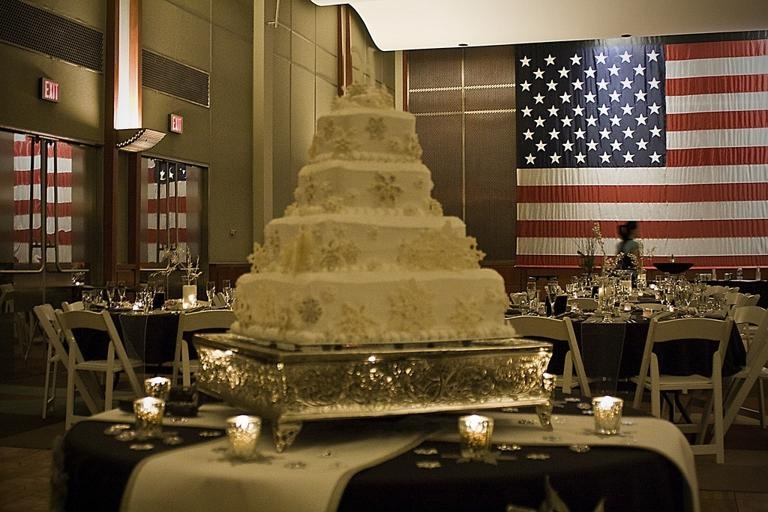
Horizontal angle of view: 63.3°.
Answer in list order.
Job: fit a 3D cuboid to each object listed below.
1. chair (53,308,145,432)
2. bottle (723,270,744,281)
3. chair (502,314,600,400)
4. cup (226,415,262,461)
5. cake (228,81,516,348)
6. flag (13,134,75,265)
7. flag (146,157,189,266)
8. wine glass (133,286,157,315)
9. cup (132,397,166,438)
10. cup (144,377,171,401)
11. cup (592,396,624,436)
[{"bbox_3d":[-2.459,1.000,5.569,0.698,1.018,0.784,-1,-2,-5],"label":"chair"},{"bbox_3d":[6.222,0.341,11.079,0.145,0.267,0.535,2,4,13],"label":"bottle"},{"bbox_3d":[1.318,0.748,4.806,0.743,0.648,0.571,-13,-5,-3],"label":"chair"},{"bbox_3d":[-0.525,0.710,2.458,0.139,0.167,0.143,0,-7,0],"label":"cup"},{"bbox_3d":[-0.128,-0.237,3.311,1.124,1.308,1.160,0,0,-22],"label":"cake"},{"bbox_3d":[-4.303,-0.694,7.849,0.063,1.592,0.884,1,5,22],"label":"flag"},{"bbox_3d":[-3.372,-0.677,9.657,0.186,1.609,0.929,1,5,18],"label":"flag"},{"bbox_3d":[-2.297,0.435,5.998,0.187,0.347,0.178,11,-8,-44],"label":"wine glass"},{"bbox_3d":[-0.964,0.653,2.568,0.131,0.152,0.136,1,-3,0],"label":"cup"},{"bbox_3d":[-1.046,0.611,2.890,0.093,0.095,0.109,2,-5,-13],"label":"cup"},{"bbox_3d":[0.948,0.674,2.660,0.131,0.152,0.131,1,-5,0],"label":"cup"}]
